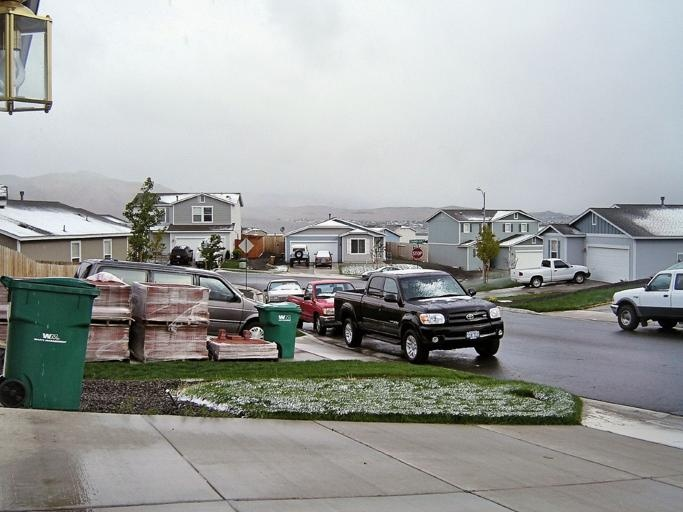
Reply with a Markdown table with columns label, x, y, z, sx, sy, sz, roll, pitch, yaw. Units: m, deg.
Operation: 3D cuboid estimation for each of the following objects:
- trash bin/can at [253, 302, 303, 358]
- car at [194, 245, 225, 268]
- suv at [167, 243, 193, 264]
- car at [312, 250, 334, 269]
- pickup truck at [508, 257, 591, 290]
| label | x | y | z | sx | sy | sz | roll | pitch | yaw |
| --- | --- | --- | --- | --- | --- | --- | --- | --- | --- |
| trash bin/can | -1.705 | 1.929 | 16.017 | 1.209 | 1.563 | 1.317 | -1 | -1 | 1 |
| car | -12.852 | -0.077 | 58.613 | 3.053 | 1.546 | 4.995 | 2 | 12 | 0 |
| suv | -15.560 | -0.055 | 59.864 | 1.318 | 1.084 | 2.911 | 1 | 7 | 1 |
| car | -2.113 | 0.418 | 66.064 | 1.912 | 1.680 | 4.273 | -1 | -3 | -1 |
| pickup truck | 14.884 | 1.279 | 44.301 | 4.988 | 1.842 | 2.276 | -4 | 6 | -14 |
